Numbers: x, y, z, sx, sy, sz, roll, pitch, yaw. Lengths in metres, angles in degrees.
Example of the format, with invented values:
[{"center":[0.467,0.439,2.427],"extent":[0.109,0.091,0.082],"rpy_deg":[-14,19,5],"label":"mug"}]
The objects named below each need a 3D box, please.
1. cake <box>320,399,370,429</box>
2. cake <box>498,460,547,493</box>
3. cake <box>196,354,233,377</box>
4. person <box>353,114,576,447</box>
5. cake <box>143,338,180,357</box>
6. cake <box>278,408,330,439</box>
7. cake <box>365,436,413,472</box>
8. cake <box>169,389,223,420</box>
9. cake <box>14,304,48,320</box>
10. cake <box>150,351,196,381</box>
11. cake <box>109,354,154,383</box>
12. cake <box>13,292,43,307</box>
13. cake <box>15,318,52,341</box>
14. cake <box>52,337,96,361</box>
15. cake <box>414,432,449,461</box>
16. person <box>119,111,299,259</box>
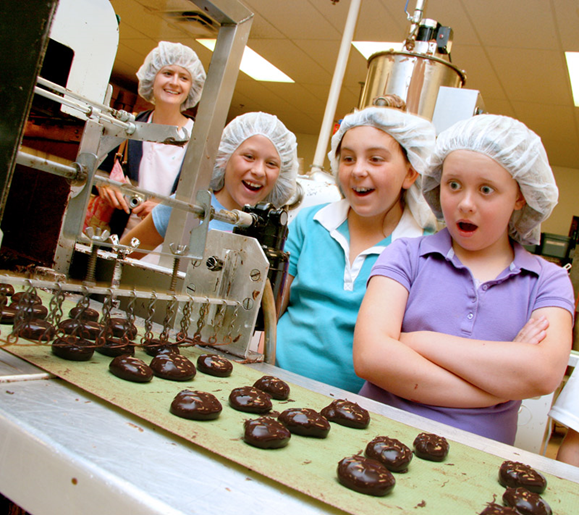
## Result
[{"center":[0.103,0.282,0.773],"extent":[0.069,0.020,0.050],"rpy_deg":[11,1,-28],"label":"cake"},{"center":[0.349,0.325,0.634],"extent":[0.047,0.018,0.059],"rpy_deg":[5,-5,-10],"label":"cake"},{"center":[-0.155,0.223,0.875],"extent":[0.057,0.024,0.052],"rpy_deg":[11,4,-35],"label":"cake"},{"center":[0.505,0.039,1.195],"extent":[0.543,0.751,0.326],"rpy_deg":[12,-3,9],"label":"person"},{"center":[-0.267,0.184,0.895],"extent":[0.044,0.015,0.056],"rpy_deg":[4,-1,-41],"label":"cake"},{"center":[0.027,0.256,0.685],"extent":[0.067,0.022,0.048],"rpy_deg":[5,8,27],"label":"cake"},{"center":[0.150,0.283,0.617],"extent":[0.046,0.017,0.055],"rpy_deg":[6,4,-18],"label":"cake"},{"center":[-0.141,0.223,0.638],"extent":[0.061,0.043,0.064],"rpy_deg":[11,-3,23],"label":"cake"},{"center":[-0.467,0.099,0.766],"extent":[0.059,0.012,0.055],"rpy_deg":[7,2,1],"label":"cake"},{"center":[-0.218,0.207,0.803],"extent":[0.073,0.050,0.066],"rpy_deg":[11,-3,21],"label":"cake"},{"center":[-0.268,0.189,0.717],"extent":[0.060,0.023,0.045],"rpy_deg":[22,21,29],"label":"cake"},{"center":[-0.453,0.073,0.733],"extent":[0.050,0.014,0.045],"rpy_deg":[-10,-30,43],"label":"cake"},{"center":[-0.444,0.128,0.749],"extent":[0.048,0.018,0.057],"rpy_deg":[9,5,-14],"label":"cake"},{"center":[-0.379,0.160,0.748],"extent":[0.068,0.047,0.058],"rpy_deg":[13,-2,-24],"label":"cake"},{"center":[0.231,0.304,0.700],"extent":[0.046,0.021,0.045],"rpy_deg":[1,7,20],"label":"cake"},{"center":[-0.320,-0.213,1.813],"extent":[0.245,0.816,0.485],"rpy_deg":[18,17,-42],"label":"person"}]
